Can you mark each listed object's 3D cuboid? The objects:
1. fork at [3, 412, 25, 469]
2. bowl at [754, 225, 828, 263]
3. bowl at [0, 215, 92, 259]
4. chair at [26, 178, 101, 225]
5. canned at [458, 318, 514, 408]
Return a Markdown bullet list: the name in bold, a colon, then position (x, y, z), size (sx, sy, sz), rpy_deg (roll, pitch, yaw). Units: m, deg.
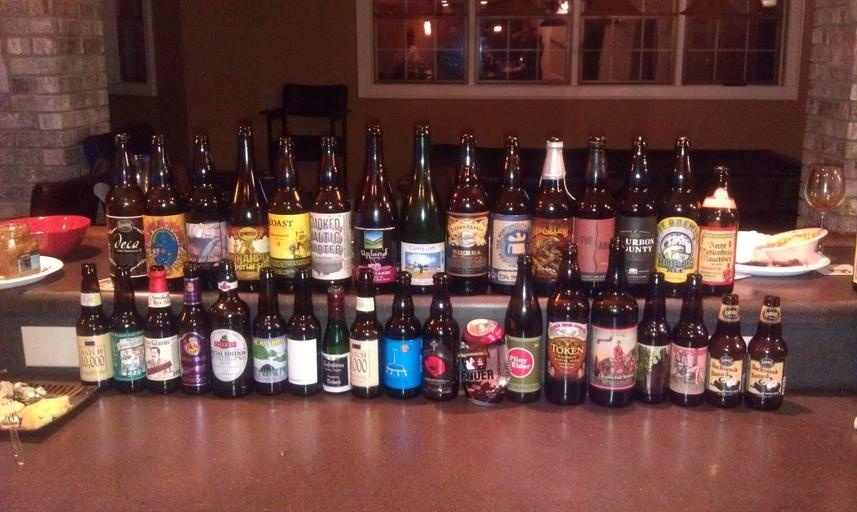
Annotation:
- **fork**: position (-1.095, 0.489, 1.970), size (0.053, 0.024, 0.171), rpy_deg (-20, 36, -11)
- **bowl**: position (1.129, -0.031, 2.297), size (0.166, 0.058, 0.157), rpy_deg (-9, 6, 1)
- **bowl**: position (-1.277, -0.083, 2.463), size (0.213, 0.074, 0.196), rpy_deg (3, 10, -1)
- **chair**: position (-1.902, -0.321, 4.026), size (0.277, 0.297, 0.293), rpy_deg (-8, -5, 30)
- **canned**: position (0.159, 0.312, 2.085), size (0.142, 0.204, 0.124), rpy_deg (-2, 1, 16)
